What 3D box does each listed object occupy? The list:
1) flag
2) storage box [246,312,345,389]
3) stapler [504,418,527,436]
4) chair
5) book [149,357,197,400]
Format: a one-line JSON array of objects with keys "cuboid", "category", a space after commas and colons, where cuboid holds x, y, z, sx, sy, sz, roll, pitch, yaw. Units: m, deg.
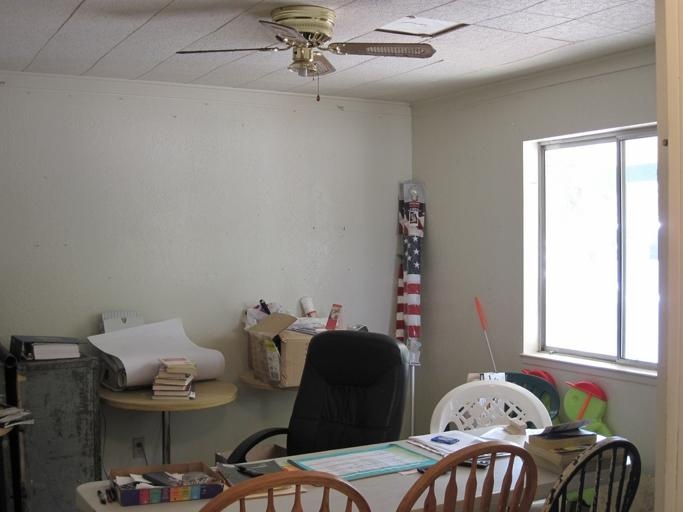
[{"cuboid": [0.633, 0.042, 4.720, 0.231, 1.385, 0.339, 3, 0, -16], "category": "flag"}, {"cuboid": [-0.392, 0.646, 3.944, 0.613, 0.373, 0.590, 1, -3, -24], "category": "storage box"}, {"cuboid": [0.854, 0.833, 2.630, 0.088, 0.028, 0.066, -3, 8, -25], "category": "stapler"}, {"cuboid": [0.396, 0.814, 2.809, 1.220, 1.049, 0.745, 1, -7, 1], "category": "chair"}, {"cuboid": [-1.049, 0.779, 3.392, 0.227, 0.127, 0.266, 1, 6, -11], "category": "book"}]
